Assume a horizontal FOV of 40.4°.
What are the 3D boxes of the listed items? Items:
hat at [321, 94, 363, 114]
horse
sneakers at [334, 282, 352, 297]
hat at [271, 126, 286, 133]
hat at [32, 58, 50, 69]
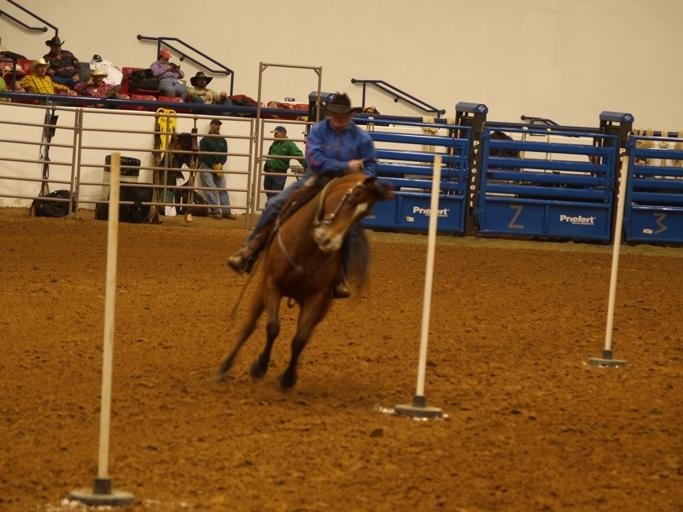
[{"bbox_3d":[-0.028,-1.623,9.878,0.278,0.222,0.500,5,3,0],"label":"hat"},{"bbox_3d":[-0.308,0.288,9.724,1.125,2.361,1.503,3,5,-35],"label":"horse"},{"bbox_3d":[0.001,0.358,9.956,0.187,0.136,0.154,-1,0,2],"label":"sneakers"},{"bbox_3d":[-1.327,-2.659,19.428,0.275,0.093,0.167,3,-1,-10],"label":"hat"},{"bbox_3d":[-6.685,-4.358,20.707,0.352,0.102,0.324,3,-15,-9],"label":"hat"}]
